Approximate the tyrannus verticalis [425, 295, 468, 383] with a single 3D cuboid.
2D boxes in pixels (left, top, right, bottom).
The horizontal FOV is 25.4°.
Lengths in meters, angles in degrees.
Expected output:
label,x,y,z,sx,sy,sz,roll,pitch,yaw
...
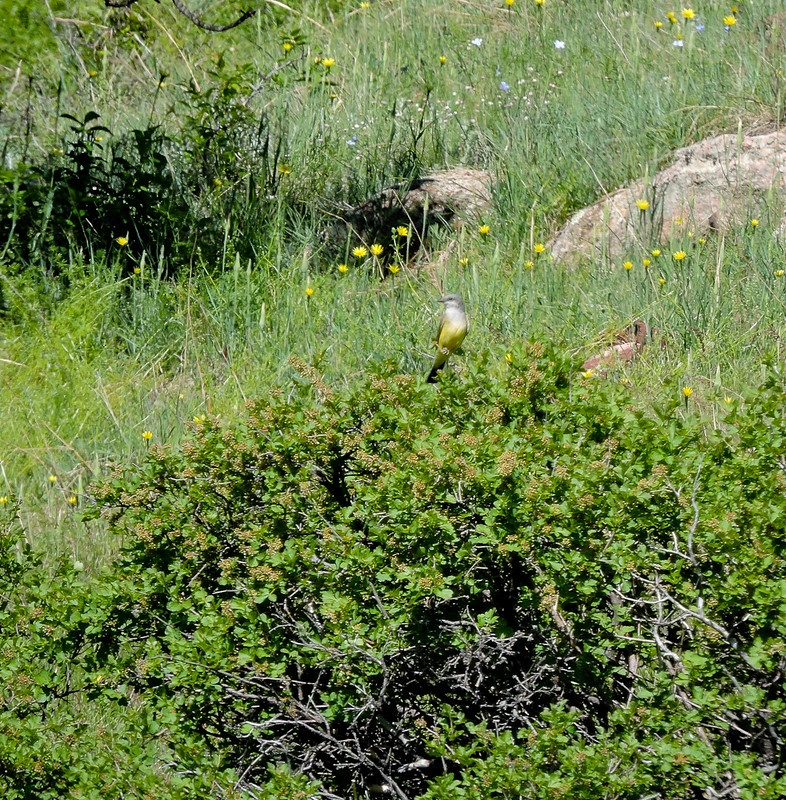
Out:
label,x,y,z,sx,sy,sz,roll,pitch,yaw
tyrannus verticalis,0.241,-0.295,7.559,0.129,0.443,0.203,15,41,-13
